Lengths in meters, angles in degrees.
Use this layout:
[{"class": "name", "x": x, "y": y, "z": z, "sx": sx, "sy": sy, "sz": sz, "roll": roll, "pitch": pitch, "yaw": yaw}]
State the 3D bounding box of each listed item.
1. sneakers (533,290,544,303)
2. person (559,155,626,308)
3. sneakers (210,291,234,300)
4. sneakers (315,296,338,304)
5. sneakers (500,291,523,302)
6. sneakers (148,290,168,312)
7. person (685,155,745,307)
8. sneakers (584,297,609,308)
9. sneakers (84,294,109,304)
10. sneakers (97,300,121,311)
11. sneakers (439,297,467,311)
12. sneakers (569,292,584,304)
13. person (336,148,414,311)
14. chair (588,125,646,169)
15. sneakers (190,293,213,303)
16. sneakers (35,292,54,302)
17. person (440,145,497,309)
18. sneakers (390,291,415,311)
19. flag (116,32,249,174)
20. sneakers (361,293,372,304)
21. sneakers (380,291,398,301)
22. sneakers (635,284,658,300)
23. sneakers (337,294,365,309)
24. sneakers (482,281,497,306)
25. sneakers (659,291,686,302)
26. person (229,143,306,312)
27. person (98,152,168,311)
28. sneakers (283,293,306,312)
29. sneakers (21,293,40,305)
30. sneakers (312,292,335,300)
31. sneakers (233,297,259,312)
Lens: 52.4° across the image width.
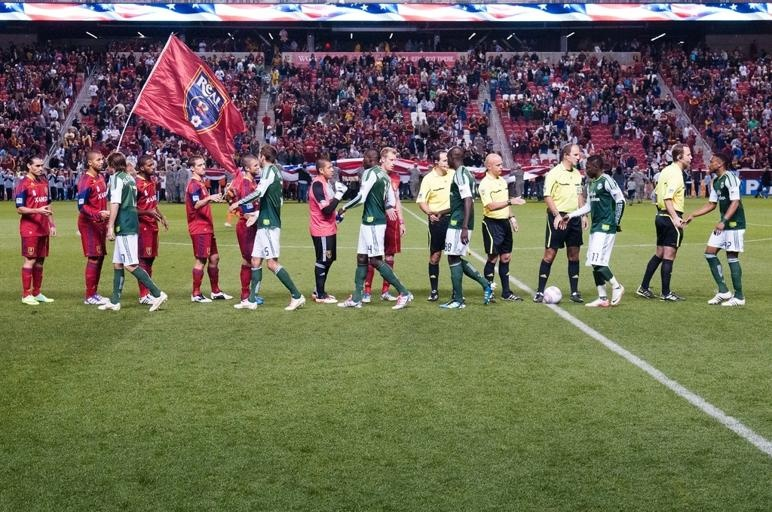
[{"class": "sneakers", "x": 2.566, "y": 0.694, "z": 13.232, "sx": 0.184, "sy": 0.192, "sz": 0.430, "roll": 0, "pitch": -2, "yaw": 1}, {"class": "person", "x": 3.515, "y": -0.411, "z": 13.066, "sx": 0.820, "sy": 2.522, "sz": 0.790, "roll": -2, "pitch": -3, "yaw": 14}, {"class": "sneakers", "x": -2.852, "y": 0.693, "z": 13.535, "sx": 0.403, "sy": 0.161, "sz": 0.153, "roll": 0, "pitch": 7, "yaw": -19}, {"class": "sneakers", "x": -1.020, "y": 0.753, "z": 13.278, "sx": 0.388, "sy": 0.155, "sz": 0.142, "roll": -1, "pitch": 6, "yaw": -2}, {"class": "sneakers", "x": 2.114, "y": 0.695, "z": 13.346, "sx": 0.386, "sy": 0.164, "sz": 0.129, "roll": -1, "pitch": 4, "yaw": 0}, {"class": "sneakers", "x": -3.677, "y": 0.790, "z": 12.631, "sx": 0.220, "sy": 0.183, "sz": 0.490, "roll": 23, "pitch": -42, "yaw": -23}, {"class": "person", "x": 5.704, "y": -0.405, "z": 13.313, "sx": 0.669, "sy": 2.527, "sz": 1.031, "roll": -3, "pitch": -3, "yaw": 22}, {"class": "sneakers", "x": 3.448, "y": 0.771, "z": 12.923, "sx": 0.407, "sy": 0.172, "sz": 0.147, "roll": 1, "pitch": 1, "yaw": 8}, {"class": "sneakers", "x": -4.842, "y": 0.736, "z": 13.059, "sx": 0.420, "sy": 0.167, "sz": 0.179, "roll": -3, "pitch": 11, "yaw": -5}, {"class": "sneakers", "x": -4.495, "y": 0.796, "z": 12.669, "sx": 0.404, "sy": 0.175, "sz": 0.149, "roll": 3, "pitch": 3, "yaw": 2}, {"class": "sneakers", "x": 1.072, "y": 0.799, "z": 12.741, "sx": 0.473, "sy": 0.217, "sz": 0.161, "roll": 0, "pitch": -1, "yaw": 4}, {"class": "sneakers", "x": 3.195, "y": 0.712, "z": 13.200, "sx": 0.116, "sy": 0.133, "sz": 0.295, "roll": 1, "pitch": -5, "yaw": -6}, {"class": "person", "x": -0.256, "y": -0.409, "z": 12.856, "sx": 1.131, "sy": 2.606, "sz": 0.943, "roll": 0, "pitch": -3, "yaw": -26}, {"class": "chair", "x": 12.135, "y": -5.728, "z": 41.482, "sx": 2.093, "sy": 2.106, "sz": 2.787, "roll": -11, "pitch": 13, "yaw": -29}, {"class": "sneakers", "x": -3.140, "y": 0.713, "z": 13.263, "sx": 0.278, "sy": 0.110, "sz": 0.146, "roll": 1, "pitch": 3, "yaw": -8}, {"class": "sneakers", "x": -5.776, "y": 0.702, "z": 13.220, "sx": 0.358, "sy": 0.152, "sz": 0.120, "roll": 2, "pitch": 15, "yaw": -16}, {"class": "person", "x": 1.262, "y": -0.462, "z": 13.006, "sx": 0.811, "sy": 2.655, "sz": 1.298, "roll": -2, "pitch": -3, "yaw": 8}, {"class": "sneakers", "x": 0.307, "y": 0.732, "z": 12.838, "sx": 0.455, "sy": 0.203, "sz": 0.159, "roll": -36, "pitch": 17, "yaw": -29}, {"class": "flag", "x": -4.149, "y": -3.286, "z": 16.758, "sx": 1.868, "sy": 2.985, "sz": 1.331, "roll": -2, "pitch": -3, "yaw": 5}, {"class": "sneakers", "x": -0.360, "y": 0.726, "z": 13.315, "sx": 0.179, "sy": 0.220, "sz": 0.490, "roll": 0, "pitch": -2, "yaw": 1}, {"class": "sneakers", "x": 0.038, "y": 0.724, "z": 13.605, "sx": 0.120, "sy": 0.127, "sz": 0.292, "roll": -1, "pitch": -1, "yaw": -36}, {"class": "sneakers", "x": 4.495, "y": 0.641, "z": 13.614, "sx": 0.416, "sy": 0.188, "sz": 0.147, "roll": 7, "pitch": 9, "yaw": -11}, {"class": "sneakers", "x": -0.579, "y": 0.784, "z": 12.950, "sx": 0.500, "sy": 0.227, "sz": 0.169, "roll": 1, "pitch": 1, "yaw": 6}, {"class": "sneakers", "x": 1.715, "y": 0.633, "z": 12.992, "sx": 0.211, "sy": 0.459, "sz": 0.158, "roll": -3, "pitch": 3, "yaw": -1}, {"class": "sneakers", "x": 4.875, "y": 0.692, "z": 13.356, "sx": 0.404, "sy": 0.180, "sz": 0.154, "roll": 0, "pitch": 2, "yaw": -2}, {"class": "person", "x": -1.927, "y": -0.431, "z": 12.737, "sx": 1.101, "sy": 2.660, "sz": 0.889, "roll": -1, "pitch": -3, "yaw": -7}, {"class": "person", "x": -4.069, "y": -0.362, "z": 12.542, "sx": 0.877, "sy": 2.497, "sz": 0.670, "roll": 0, "pitch": -3, "yaw": -23}, {"class": "sneakers", "x": -1.531, "y": 0.800, "z": 12.766, "sx": 0.410, "sy": 0.215, "sz": 0.146, "roll": -32, "pitch": 0, "yaw": -25}, {"class": "sneakers", "x": -5.921, "y": 0.728, "z": 13.003, "sx": 0.323, "sy": 0.137, "sz": 0.129, "roll": 3, "pitch": 14, "yaw": 10}, {"class": "sneakers", "x": -1.069, "y": 0.715, "z": 13.298, "sx": 0.408, "sy": 0.180, "sz": 0.150, "roll": -1, "pitch": 16, "yaw": -7}, {"class": "sneakers", "x": -2.277, "y": 0.811, "z": 12.798, "sx": 0.419, "sy": 0.181, "sz": 0.154, "roll": 2, "pitch": -1, "yaw": 11}]
